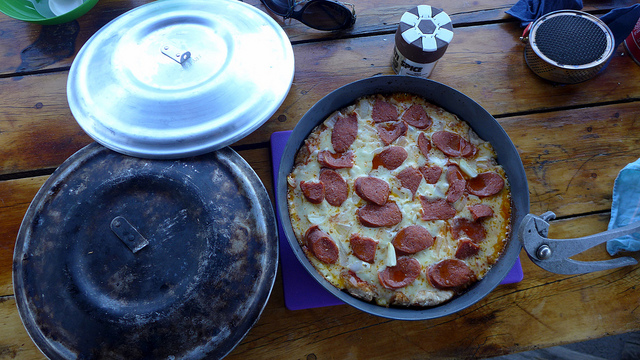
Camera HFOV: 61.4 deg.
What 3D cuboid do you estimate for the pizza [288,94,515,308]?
[{"bbox_3d":[0.304,0.072,2.069,0.828,0.086,0.837,-38,80,-5],"label":"pizza"}]

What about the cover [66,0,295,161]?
[{"bbox_3d":[-0.546,-0.417,2.090,0.851,0.073,0.696,10,79,4],"label":"cover"}]
